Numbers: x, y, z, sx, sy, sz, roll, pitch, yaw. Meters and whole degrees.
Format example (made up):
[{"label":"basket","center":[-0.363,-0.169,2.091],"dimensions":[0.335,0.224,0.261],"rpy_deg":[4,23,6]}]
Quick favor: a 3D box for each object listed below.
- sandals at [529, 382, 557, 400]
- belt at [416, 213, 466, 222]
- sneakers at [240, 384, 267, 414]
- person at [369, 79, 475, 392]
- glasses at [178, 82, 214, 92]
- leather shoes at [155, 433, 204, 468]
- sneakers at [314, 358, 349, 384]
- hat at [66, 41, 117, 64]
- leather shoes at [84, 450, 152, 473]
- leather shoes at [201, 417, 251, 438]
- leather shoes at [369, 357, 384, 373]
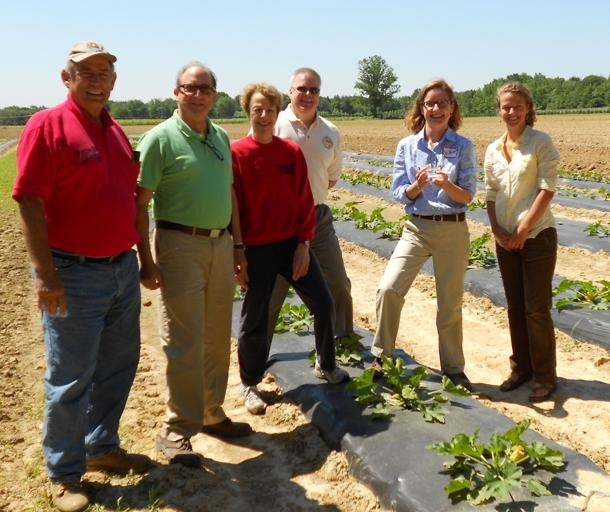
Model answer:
[{"label":"sandals","center":[2.073,1.172,4.224],"dimensions":[0.313,0.112,0.110],"rpy_deg":[-4,4,-42]},{"label":"belt","center":[1.140,-0.330,4.116],"dimensions":[0.443,0.072,0.137],"rpy_deg":[1,13,6]},{"label":"sneakers","center":[-0.432,1.196,4.107],"dimensions":[0.118,0.133,0.312],"rpy_deg":[-7,13,-24]},{"label":"person","center":[1.081,-0.107,4.190],"dimensions":[0.820,2.690,0.990],"rpy_deg":[4,15,19]},{"label":"glasses","center":[-0.718,-1.107,3.222],"dimensions":[0.209,0.061,0.073],"rpy_deg":[-4,14,-13]},{"label":"leather shoes","center":[-0.852,1.284,3.257],"dimensions":[0.378,0.156,0.131],"rpy_deg":[5,-15,41]},{"label":"sneakers","center":[0.228,0.954,4.016],"dimensions":[0.325,0.218,0.124],"rpy_deg":[-4,2,33]},{"label":"hat","center":[-1.200,-1.141,2.720],"dimensions":[0.250,0.126,0.243],"rpy_deg":[-6,14,-20]},{"label":"leather shoes","center":[-1.157,1.301,3.059],"dimensions":[0.387,0.157,0.159],"rpy_deg":[0,7,-11]},{"label":"leather shoes","center":[-0.570,1.324,3.707],"dimensions":[0.411,0.172,0.147],"rpy_deg":[-1,22,-6]},{"label":"leather shoes","center":[0.585,0.888,3.954],"dimensions":[0.077,0.094,0.128],"rpy_deg":[8,13,39]}]
